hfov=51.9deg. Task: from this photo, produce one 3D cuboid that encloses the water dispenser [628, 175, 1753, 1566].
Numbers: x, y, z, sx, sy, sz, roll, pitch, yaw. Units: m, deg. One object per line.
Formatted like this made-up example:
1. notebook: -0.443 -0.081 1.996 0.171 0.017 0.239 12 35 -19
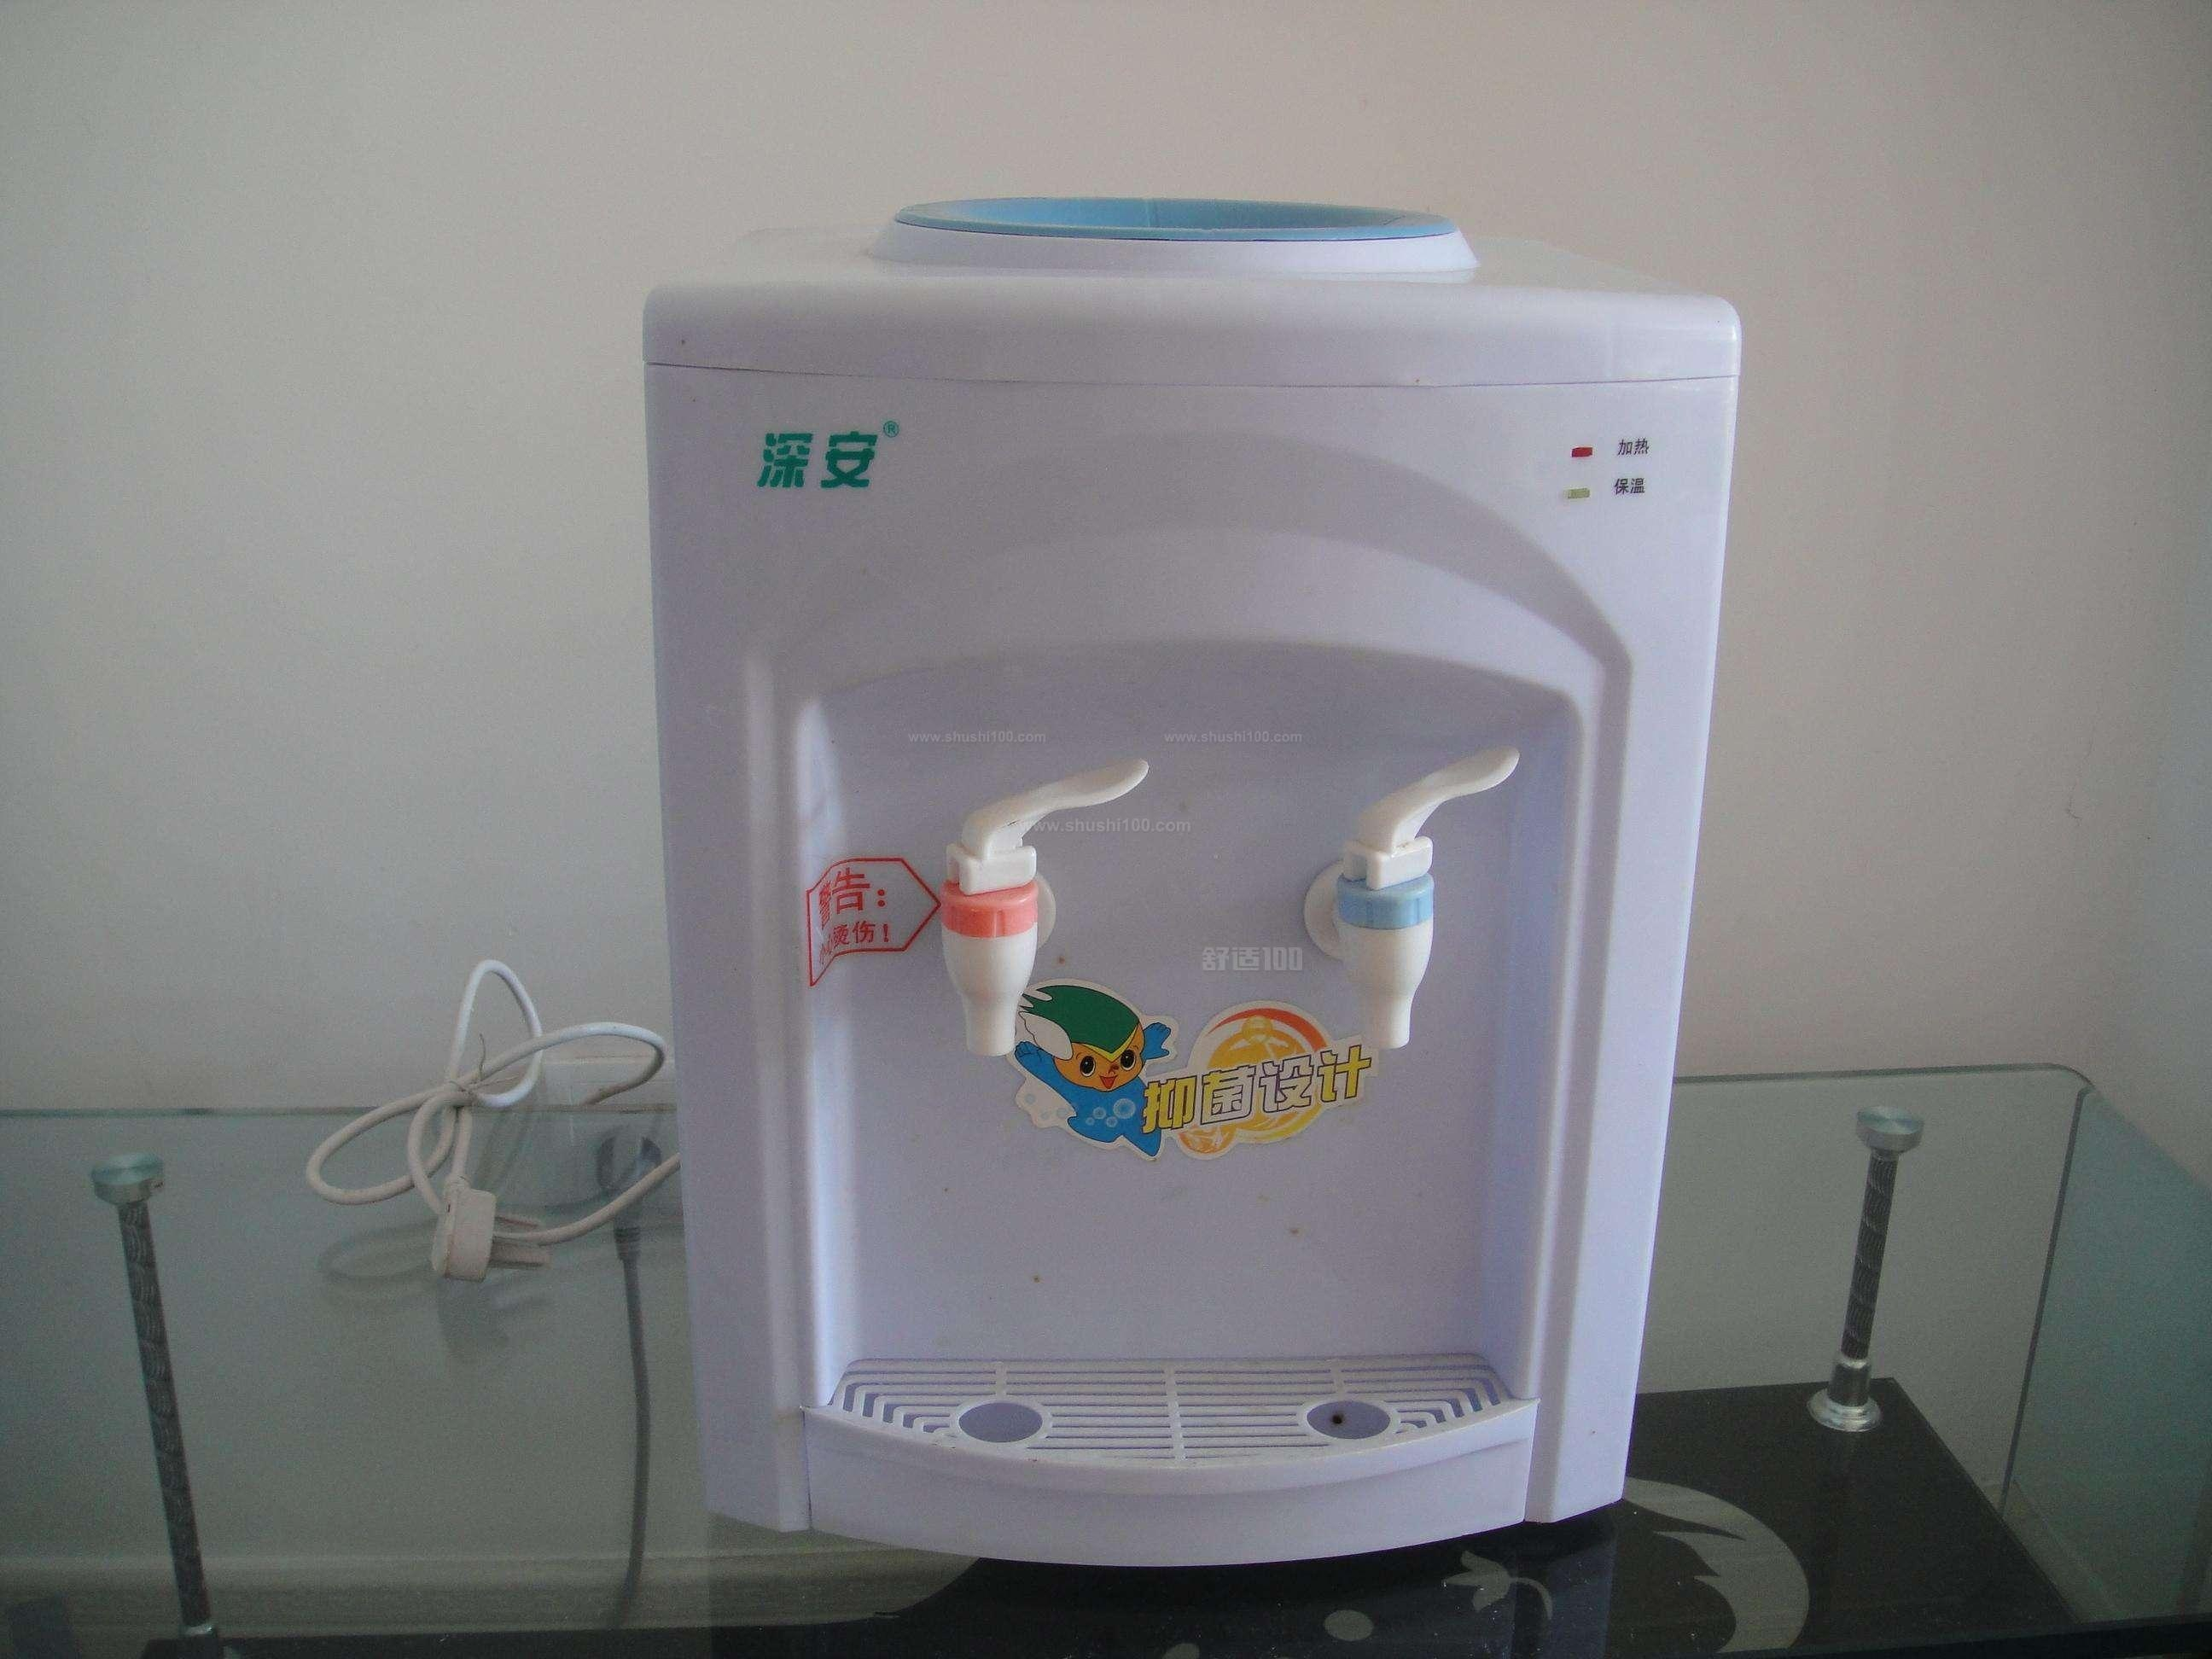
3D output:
1. water dispenser: 0.036 0.022 1.250 0.482 0.704 0.457 0 20 -2
